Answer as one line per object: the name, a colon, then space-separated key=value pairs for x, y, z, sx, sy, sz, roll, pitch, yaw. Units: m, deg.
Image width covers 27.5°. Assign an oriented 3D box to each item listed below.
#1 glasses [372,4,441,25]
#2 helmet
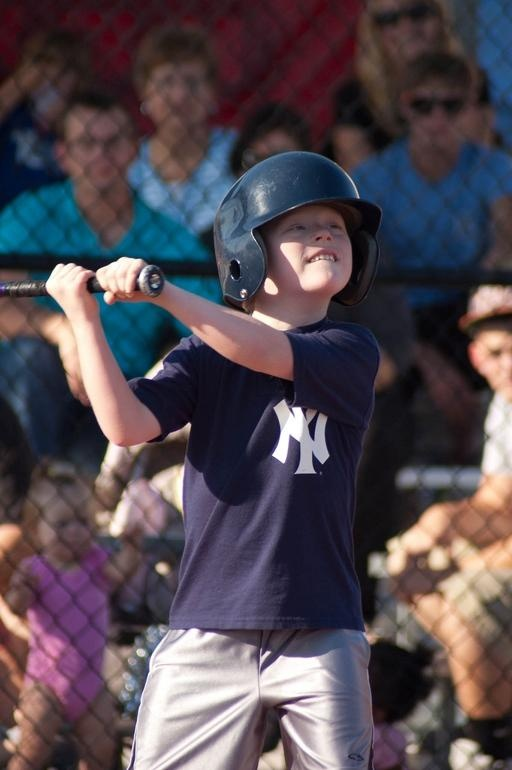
glasses: x=0.514 y=-1.277 z=3.598 sx=0.141 sy=0.044 sz=0.090 roll=-11 pitch=12 yaw=5
helmet: x=0.067 y=-0.338 z=2.496 sx=0.354 sy=0.439 sz=0.306 roll=5 pitch=78 yaw=-26
